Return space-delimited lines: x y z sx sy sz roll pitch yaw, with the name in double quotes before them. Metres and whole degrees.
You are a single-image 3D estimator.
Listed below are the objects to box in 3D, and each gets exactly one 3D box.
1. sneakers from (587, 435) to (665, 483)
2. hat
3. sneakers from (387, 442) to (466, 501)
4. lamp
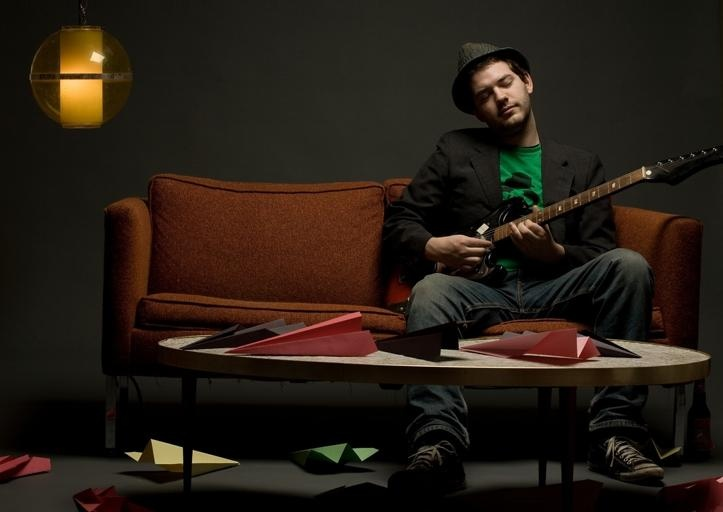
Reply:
"sneakers" 0.874 0.682 2.378 0.122 0.123 0.285 0 -6 -28
"hat" 0.524 -0.809 3.041 0.297 0.129 0.337 -21 -36 16
"sneakers" 0.221 0.692 2.236 0.118 0.127 0.292 -7 -13 37
"lamp" -1.096 -0.713 2.740 0.352 0.391 0.142 0 2 6
